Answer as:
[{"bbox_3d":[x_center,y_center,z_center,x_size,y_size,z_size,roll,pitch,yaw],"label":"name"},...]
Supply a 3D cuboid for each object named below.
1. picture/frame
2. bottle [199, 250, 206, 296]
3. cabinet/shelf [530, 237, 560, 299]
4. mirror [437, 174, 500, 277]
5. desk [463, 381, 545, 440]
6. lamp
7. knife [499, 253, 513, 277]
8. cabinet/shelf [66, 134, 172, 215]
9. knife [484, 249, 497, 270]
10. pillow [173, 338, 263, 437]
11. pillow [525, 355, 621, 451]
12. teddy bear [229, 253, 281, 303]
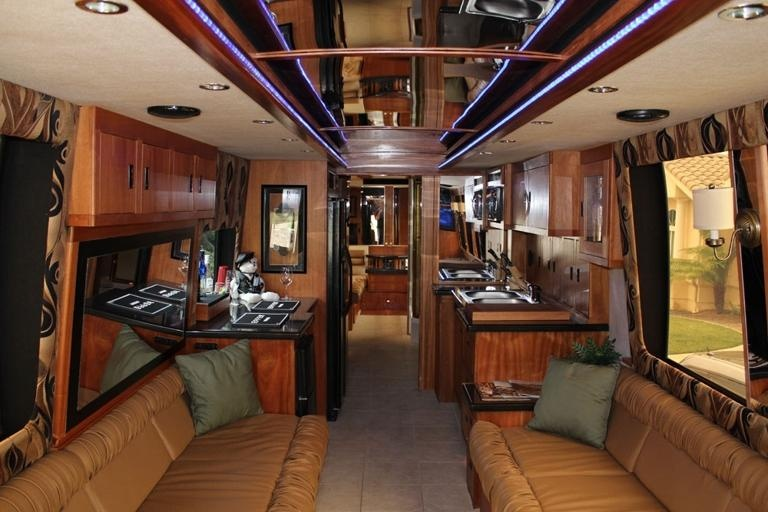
[{"bbox_3d":[-0.938,-0.266,4.716,0.395,0.795,0.138,1,11,7],"label":"picture/frame"},{"bbox_3d":[-1.535,0.124,4.242,0.069,0.373,0.166,-4,11,-20],"label":"bottle"},{"bbox_3d":[1.585,0.111,4.926,0.213,0.535,0.625,1,3,3],"label":"cabinet/shelf"},{"bbox_3d":[0.959,-0.415,5.991,0.600,1.030,0.527,1,10,9],"label":"mirror"},{"bbox_3d":[0.878,1.094,3.830,0.459,0.333,0.554,0,0,-3],"label":"desk"},{"bbox_3d":[1.683,-0.153,2.463,0.120,0.371,0.329,-5,11,-23],"label":"lamp"},{"bbox_3d":[1.361,0.092,5.671,0.104,0.218,0.151,-3,5,-31],"label":"knife"},{"bbox_3d":[-1.409,-0.436,2.635,0.100,0.255,0.559,5,3,-2],"label":"cabinet/shelf"},{"bbox_3d":[1.288,0.041,6.046,0.150,0.314,0.055,5,19,-4],"label":"knife"},{"bbox_3d":[-1.185,0.936,3.527,0.315,0.501,0.607,10,14,35],"label":"pillow"},{"bbox_3d":[1.291,0.987,3.394,0.171,0.498,0.556,23,-9,-34],"label":"pillow"},{"bbox_3d":[-1.165,0.182,4.563,0.479,0.436,0.392,0,6,-26],"label":"teddy bear"}]
